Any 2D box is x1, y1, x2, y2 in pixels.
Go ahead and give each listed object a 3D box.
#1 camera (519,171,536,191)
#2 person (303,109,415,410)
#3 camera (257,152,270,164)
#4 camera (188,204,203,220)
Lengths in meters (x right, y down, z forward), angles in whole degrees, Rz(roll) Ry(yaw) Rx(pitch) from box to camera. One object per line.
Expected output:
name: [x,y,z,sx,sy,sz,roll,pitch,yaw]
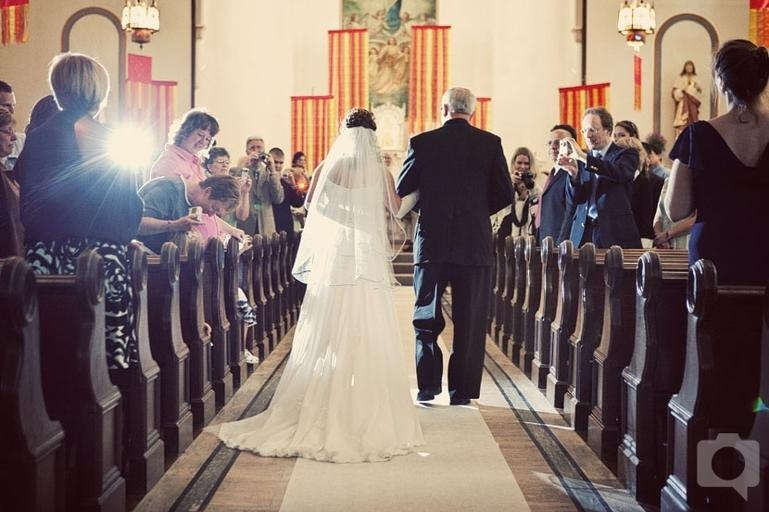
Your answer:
camera: [1.549,-0.811,8.037,0.101,0.202,0.186,3,3,1]
person: [-0.209,0.136,4.837,0.809,2.115,0.854,-2,10,-18]
camera: [-1.439,-1.162,8.826,0.079,0.126,0.039,-15,17,-38]
camera: [-1.345,-0.316,5.263,0.081,0.068,0.117,7,37,-11]
